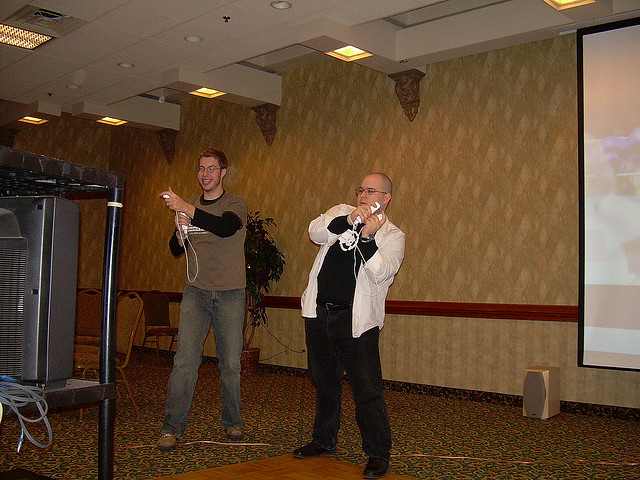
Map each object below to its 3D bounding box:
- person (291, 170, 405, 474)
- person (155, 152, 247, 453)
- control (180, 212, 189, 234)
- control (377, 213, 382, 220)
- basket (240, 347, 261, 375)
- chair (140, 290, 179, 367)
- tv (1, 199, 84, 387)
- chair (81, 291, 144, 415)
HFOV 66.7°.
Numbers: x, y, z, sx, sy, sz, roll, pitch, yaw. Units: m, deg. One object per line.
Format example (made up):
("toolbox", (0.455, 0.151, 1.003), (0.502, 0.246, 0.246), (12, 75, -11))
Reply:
("person", (0.186, 0.562, 3.363), (0.663, 2.039, 0.534), (1, -1, 34))
("person", (-0.837, 0.480, 3.812), (0.756, 2.372, 1.420), (2, -1, -18))
("control", (-1.016, -0.134, 3.658), (0.110, 0.164, 0.055), (8, 9, 38))
("control", (0.383, -0.150, 3.099), (0.044, 0.047, 0.012), (-3, -7, 24))
("basket", (-1.061, 1.856, 7.400), (0.205, 0.384, 0.634), (1, -1, 5))
("chair", (-2.721, 1.474, 8.317), (0.524, 1.087, 0.633), (-9, -13, -30))
("tv", (-0.803, 0.158, 1.410), (0.204, 0.478, 0.158), (2, -1, -35))
("chair", (-2.000, 1.064, 4.505), (0.648, 1.070, 0.589), (3, -3, -28))
